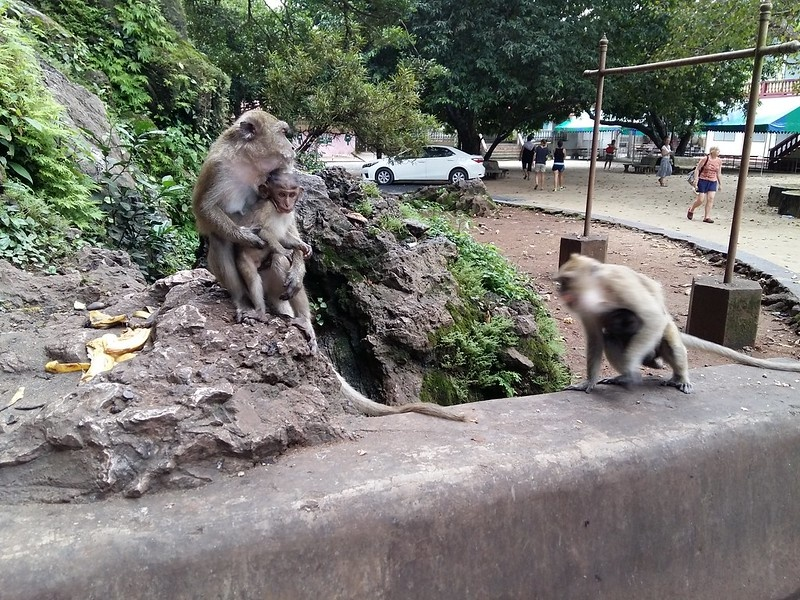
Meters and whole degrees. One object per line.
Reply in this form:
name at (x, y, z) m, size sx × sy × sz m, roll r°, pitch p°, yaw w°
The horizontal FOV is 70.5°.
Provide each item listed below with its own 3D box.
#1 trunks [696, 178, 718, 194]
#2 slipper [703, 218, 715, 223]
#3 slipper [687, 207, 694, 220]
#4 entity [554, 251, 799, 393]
trunks at (6.883, -2.560, 12.647) m, size 0.427 × 0.428 × 0.274 m, roll 3°, pitch 14°, yaw 14°
slipper at (7.088, -1.804, 13.004) m, size 0.258 × 0.116 × 0.143 m, roll 10°, pitch 17°, yaw 37°
slipper at (6.912, -2.025, 13.393) m, size 0.145 × 0.183 × 0.422 m, roll 4°, pitch 18°, yaw 14°
entity at (1.855, 0.137, 4.105) m, size 1.427 × 0.959 × 0.613 m, roll -8°, pitch 19°, yaw -21°
